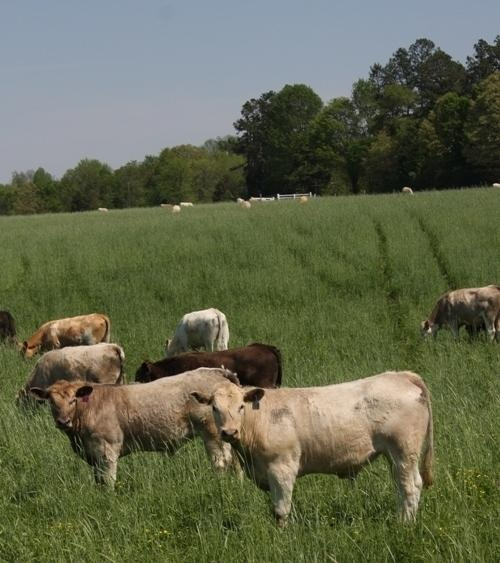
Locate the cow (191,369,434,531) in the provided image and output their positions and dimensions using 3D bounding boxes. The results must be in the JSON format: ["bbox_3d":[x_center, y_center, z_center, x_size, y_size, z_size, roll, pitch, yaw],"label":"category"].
[{"bbox_3d":[0.879,2.176,9.265,2.851,1.957,1.008,-4,2,9],"label":"cow"}]

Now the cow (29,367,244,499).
[{"bbox_3d":[-1.580,2.294,10.671,2.941,1.840,1.048,-2,1,-10],"label":"cow"}]

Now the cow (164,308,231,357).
[{"bbox_3d":[-1.381,1.368,17.642,1.839,1.057,0.676,-13,-9,38],"label":"cow"}]
